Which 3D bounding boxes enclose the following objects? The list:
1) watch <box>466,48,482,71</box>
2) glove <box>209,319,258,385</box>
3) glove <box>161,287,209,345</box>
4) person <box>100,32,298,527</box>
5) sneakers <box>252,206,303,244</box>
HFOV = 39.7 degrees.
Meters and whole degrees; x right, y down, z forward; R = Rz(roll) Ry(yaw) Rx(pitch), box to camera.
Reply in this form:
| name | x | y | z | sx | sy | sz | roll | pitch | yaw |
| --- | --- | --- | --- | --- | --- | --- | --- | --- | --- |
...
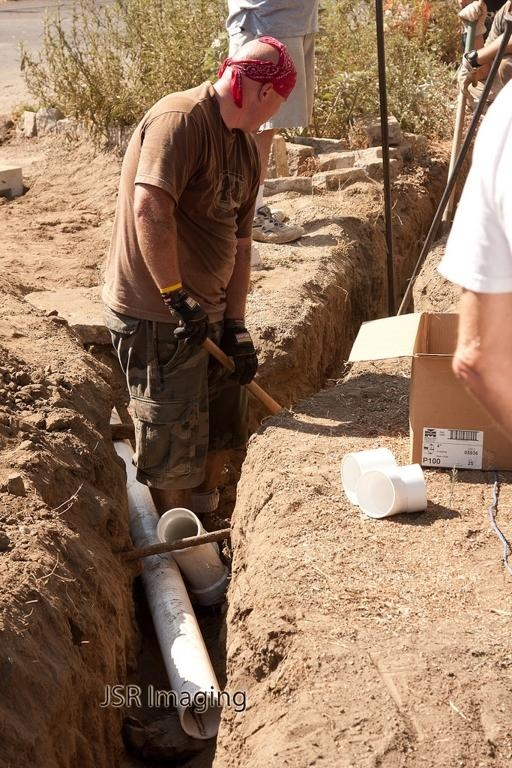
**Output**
| name | x | y | z | sx | sy | sz | roll | pitch | yaw |
| --- | --- | --- | --- | --- | --- | --- | --- | --- | --- |
| watch | 1.336 | -2.028 | 4.404 | 0.085 | 0.109 | 0.106 | -4 | 60 | 9 |
| glove | -0.107 | -0.176 | 3.554 | 0.180 | 0.309 | 0.146 | -15 | -8 | -17 |
| glove | -0.285 | -0.307 | 3.003 | 0.179 | 0.241 | 0.093 | 37 | 74 | 24 |
| person | -0.265 | -0.351 | 3.327 | 0.765 | 2.274 | 0.705 | -19 | 24 | -33 |
| sneakers | 0.265 | -1.265 | 5.720 | 0.538 | 0.241 | 0.243 | 14 | 40 | 24 |
